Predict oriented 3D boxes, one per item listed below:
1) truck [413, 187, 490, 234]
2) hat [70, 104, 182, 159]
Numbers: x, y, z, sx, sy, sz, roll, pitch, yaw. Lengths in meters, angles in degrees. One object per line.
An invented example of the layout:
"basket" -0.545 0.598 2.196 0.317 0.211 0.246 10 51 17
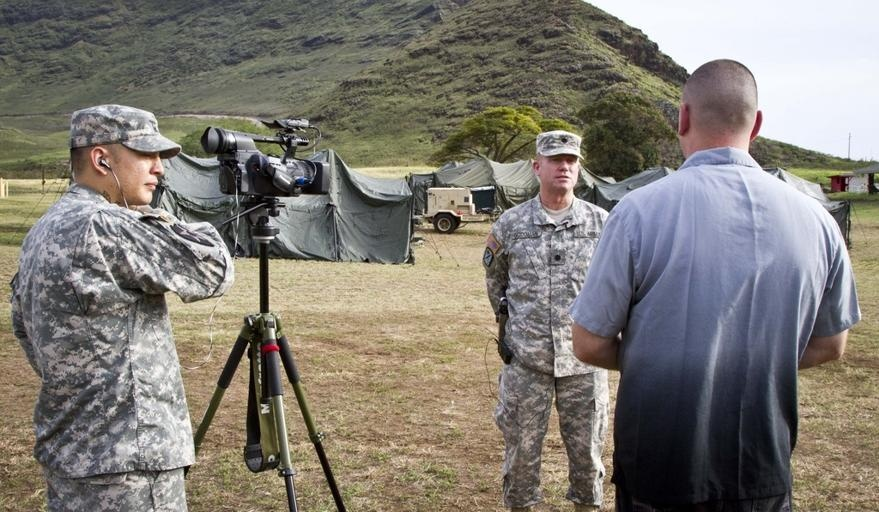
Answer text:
"truck" 0.586 -1.627 29.566 2.935 1.446 1.803 -2 7 6
"hat" -2.089 -0.843 5.775 0.743 0.327 0.518 -3 5 -5
